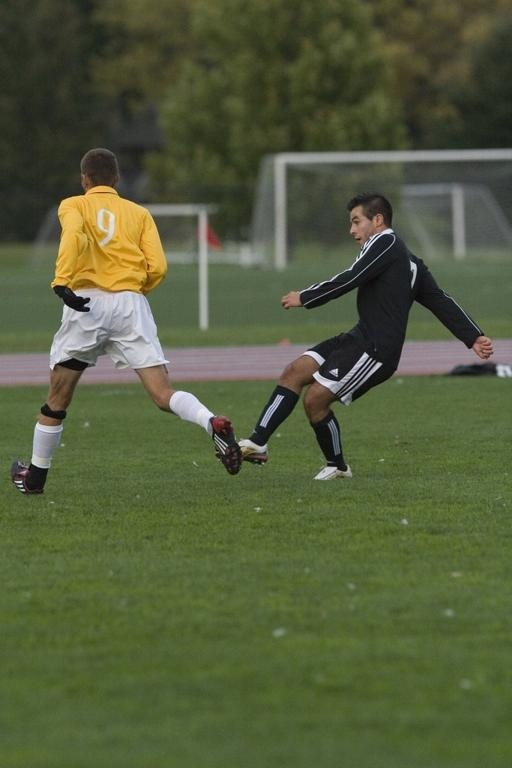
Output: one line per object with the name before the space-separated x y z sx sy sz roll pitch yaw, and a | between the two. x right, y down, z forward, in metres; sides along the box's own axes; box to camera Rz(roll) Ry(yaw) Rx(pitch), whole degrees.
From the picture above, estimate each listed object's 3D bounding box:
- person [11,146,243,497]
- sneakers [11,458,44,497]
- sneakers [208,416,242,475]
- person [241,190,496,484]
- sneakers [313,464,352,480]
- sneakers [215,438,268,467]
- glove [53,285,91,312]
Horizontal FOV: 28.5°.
person | -0.715 -0.263 4.632 0.744 1.676 1.193 -8 12 -27
sneakers | -1.096 0.444 4.901 0.121 0.089 0.215 3 36 -32
sneakers | -0.130 0.275 4.430 0.128 0.295 0.210 -3 10 0
person | 0.532 -0.128 5.078 1.293 1.272 0.422 -3 11 -5
sneakers | 0.397 0.462 5.226 0.227 0.064 0.070 -2 -3 -16
sneakers | -0.033 0.335 4.931 0.313 0.126 0.099 7 -14 -3
glove | -0.768 -0.384 4.337 0.142 0.045 0.104 36 -17 -21
